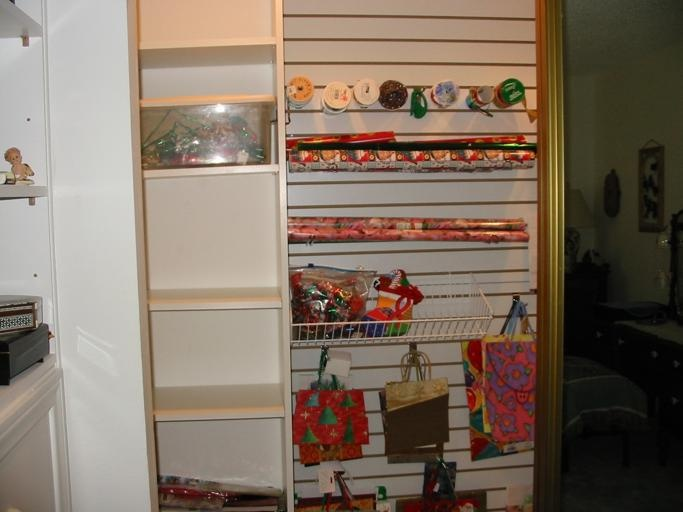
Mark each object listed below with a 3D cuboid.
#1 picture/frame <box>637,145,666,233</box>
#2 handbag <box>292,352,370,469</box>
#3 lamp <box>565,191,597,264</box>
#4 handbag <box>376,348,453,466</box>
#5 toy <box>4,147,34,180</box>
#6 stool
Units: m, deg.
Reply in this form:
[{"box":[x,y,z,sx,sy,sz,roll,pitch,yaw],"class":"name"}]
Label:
[{"box":[1.438,-0.318,2.921,0.017,0.420,0.117,-1,2,-40],"class":"picture/frame"},{"box":[-0.052,0.704,2.962,0.364,0.580,0.200,-2,4,-10],"class":"handbag"},{"box":[1.140,-0.136,3.009,0.125,0.378,0.029,-2,4,1],"class":"lamp"},{"box":[0.351,0.705,3.017,0.341,0.595,0.222,-1,4,5],"class":"handbag"},{"box":[-1.352,-0.380,2.602,0.117,0.144,0.092,-2,4,-4],"class":"toy"},{"box":[1.246,0.715,3.055,0.509,0.530,0.388,-1,-1,6],"class":"stool"}]
